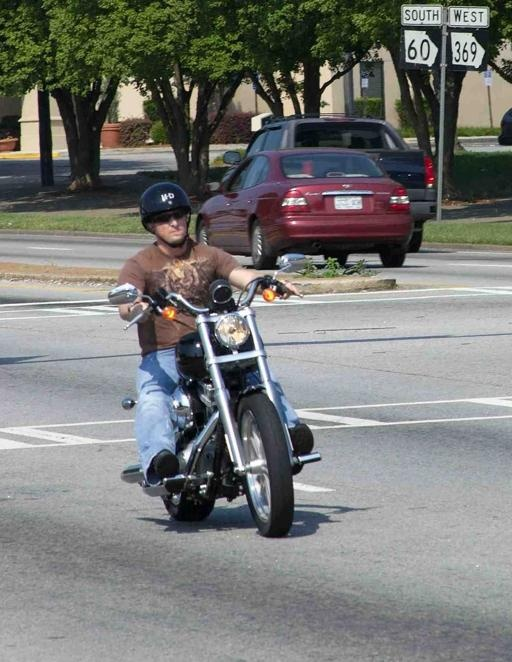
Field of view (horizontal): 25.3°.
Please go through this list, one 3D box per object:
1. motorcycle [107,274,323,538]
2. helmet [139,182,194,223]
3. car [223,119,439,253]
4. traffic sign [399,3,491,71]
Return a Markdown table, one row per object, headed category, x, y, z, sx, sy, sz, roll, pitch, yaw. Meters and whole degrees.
| category | x | y | z | sx | sy | sz | roll | pitch | yaw |
| --- | --- | --- | --- | --- | --- | --- | --- | --- | --- |
| motorcycle | -0.190 | 0.365 | 4.835 | 0.730 | 1.205 | 0.946 | -9 | 12 | -28 |
| helmet | -0.418 | -0.589 | 5.195 | 0.187 | 0.156 | 0.213 | -17 | 16 | -10 |
| car | 1.744 | -2.973 | 20.429 | 2.078 | 1.417 | 4.011 | -3 | 11 | -22 |
| traffic sign | 4.117 | -6.529 | 25.065 | 1.872 | 1.426 | 1.367 | -2 | 10 | 8 |
